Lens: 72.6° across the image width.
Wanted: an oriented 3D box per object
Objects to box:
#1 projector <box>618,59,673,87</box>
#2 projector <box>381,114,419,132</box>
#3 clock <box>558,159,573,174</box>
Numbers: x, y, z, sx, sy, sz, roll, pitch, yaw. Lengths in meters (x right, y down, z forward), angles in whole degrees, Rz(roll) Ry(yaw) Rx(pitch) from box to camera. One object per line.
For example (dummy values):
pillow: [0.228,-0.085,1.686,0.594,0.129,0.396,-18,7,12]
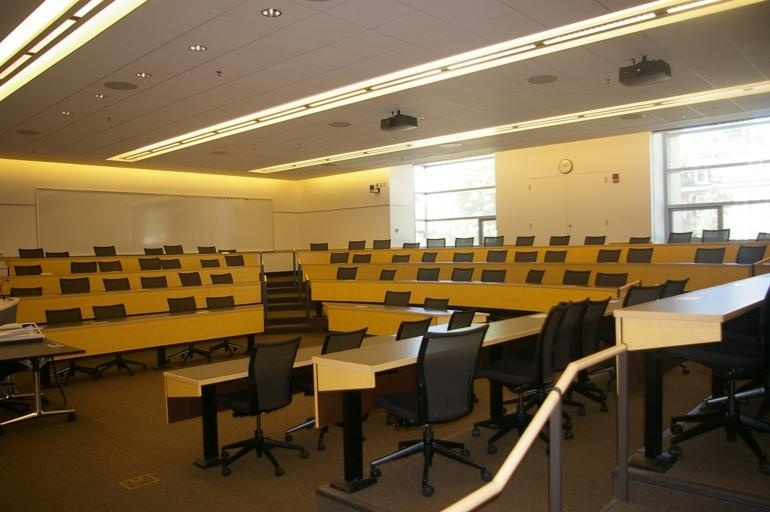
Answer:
projector: [3.721,-2.517,7.494,0.627,0.335,0.439,-5,-7,42]
projector: [0.344,-2.426,9.676,0.521,0.216,0.377,-4,-6,43]
clock: [4.721,-2.340,13.700,0.061,0.320,0.345,7,19,-47]
